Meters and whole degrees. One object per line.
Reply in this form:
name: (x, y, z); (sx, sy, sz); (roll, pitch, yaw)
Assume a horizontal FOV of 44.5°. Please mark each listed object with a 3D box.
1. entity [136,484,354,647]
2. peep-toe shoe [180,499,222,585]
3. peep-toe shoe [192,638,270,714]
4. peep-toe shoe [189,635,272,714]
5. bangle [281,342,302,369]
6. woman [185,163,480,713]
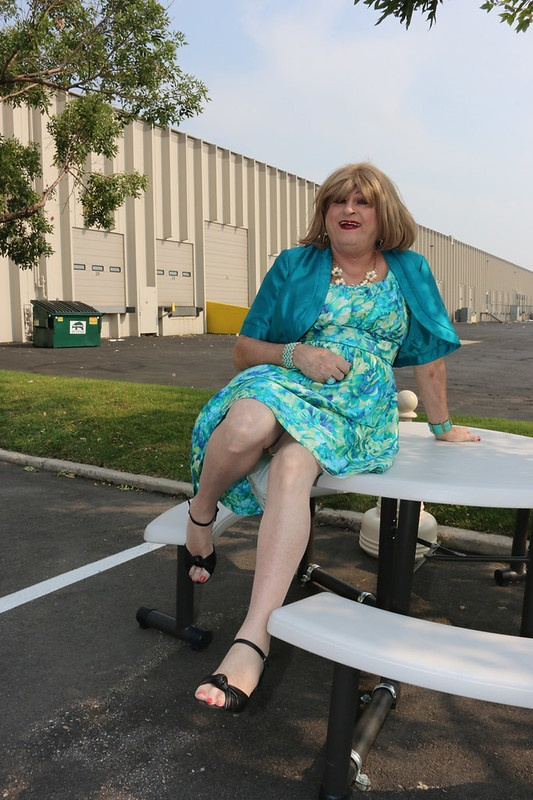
entity: (-0.159, 0.514, 2.460); (0.606, 0.543, 0.874); (7, 6, 28)
peep-toe shoe: (-0.234, 0.517, 2.230); (0.097, 0.338, 0.060); (3, 18, 19)
peep-toe shoe: (-0.083, 0.678, 1.621); (0.103, 0.088, 0.242); (17, 6, 17)
peep-toe shoe: (-0.085, 0.662, 1.617); (0.104, 0.089, 0.242); (17, 14, 20)
bangle: (0.084, -0.149, 2.170); (0.030, 0.073, 0.064); (10, -6, 10)
woman: (0.083, -0.028, 2.158); (0.689, 1.481, 1.473); (9, 16, 35)
